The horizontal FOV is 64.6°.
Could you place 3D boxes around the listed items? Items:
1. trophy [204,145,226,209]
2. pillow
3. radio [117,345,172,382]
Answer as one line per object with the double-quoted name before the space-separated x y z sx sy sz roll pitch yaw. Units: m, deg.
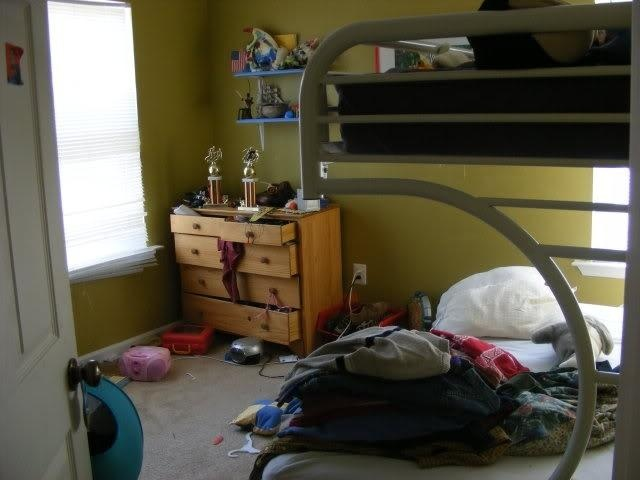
"trophy" -0.782 -0.491 3.785 0.138 0.385 0.538 -5 14 -11
"pillow" 0.853 0.330 2.499 0.490 0.161 0.466 -11 43 23
"radio" -1.084 0.758 3.131 0.300 0.151 0.254 -5 14 -11
